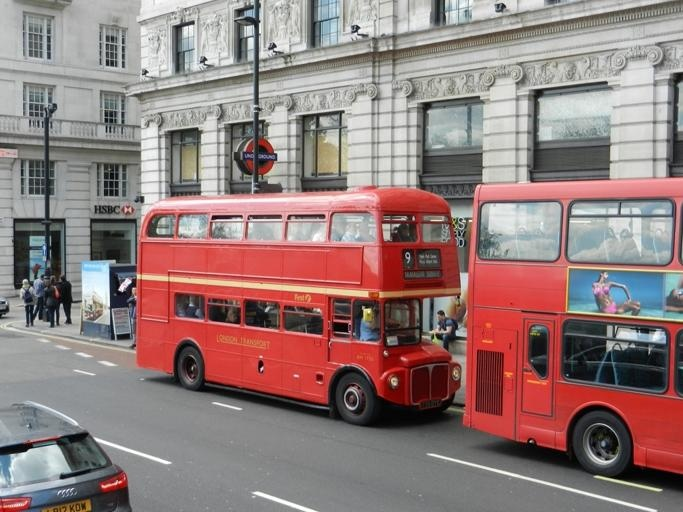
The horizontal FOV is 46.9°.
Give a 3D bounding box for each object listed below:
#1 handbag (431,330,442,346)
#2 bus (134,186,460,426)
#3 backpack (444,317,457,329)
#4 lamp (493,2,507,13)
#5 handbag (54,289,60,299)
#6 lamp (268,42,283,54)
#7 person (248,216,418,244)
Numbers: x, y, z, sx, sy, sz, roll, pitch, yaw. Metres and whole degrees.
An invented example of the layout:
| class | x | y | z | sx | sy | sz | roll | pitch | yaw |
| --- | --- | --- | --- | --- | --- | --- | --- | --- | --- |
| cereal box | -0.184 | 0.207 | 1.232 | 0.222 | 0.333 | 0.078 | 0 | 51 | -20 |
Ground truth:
| class | x | y | z | sx | sy | sz | roll | pitch | yaw |
| --- | --- | --- | --- | --- | --- | --- | --- | --- | --- |
| handbag | 2.814 | 2.418 | 23.209 | 0.386 | 0.582 | 0.565 | 1 | 5 | 11 |
| bus | -1.513 | 0.995 | 21.763 | 10.061 | 5.690 | 2.932 | 4 | 5 | 37 |
| backpack | 3.267 | 2.010 | 23.760 | 0.261 | 0.440 | 0.382 | 0 | -8 | 43 |
| lamp | 5.039 | -7.922 | 25.041 | 0.268 | 0.281 | 0.311 | -2 | -7 | 43 |
| handbag | -12.330 | 1.628 | 34.201 | 0.150 | 0.440 | 0.549 | -1 | 4 | -15 |
| lamp | -2.644 | -8.293 | 31.245 | 0.577 | 0.532 | 0.570 | 0 | 4 | -7 |
| person | -0.196 | -0.716 | 19.554 | 3.943 | 0.741 | 0.895 | 3 | 5 | 30 |
